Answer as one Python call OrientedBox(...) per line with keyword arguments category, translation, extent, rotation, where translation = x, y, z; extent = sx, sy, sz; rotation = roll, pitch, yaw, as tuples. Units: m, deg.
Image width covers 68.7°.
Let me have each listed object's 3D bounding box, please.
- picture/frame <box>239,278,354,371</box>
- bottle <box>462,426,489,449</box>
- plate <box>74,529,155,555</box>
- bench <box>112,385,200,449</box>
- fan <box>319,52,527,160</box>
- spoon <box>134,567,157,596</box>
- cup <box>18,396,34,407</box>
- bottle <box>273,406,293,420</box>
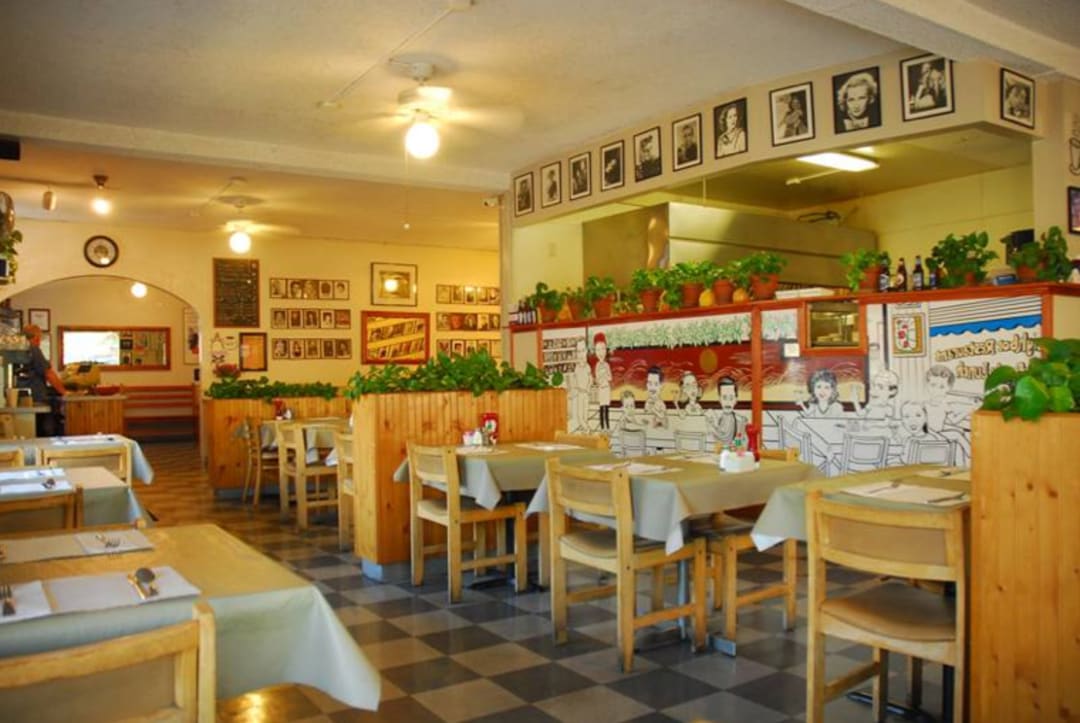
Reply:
OrientedBox(category="picture/frame", translation=(-4.403, -0.669, 13.887), extent=(1.907, 1.389, 0.046), rotation=(-1, -2, -27))
OrientedBox(category="bottle", translation=(-0.525, 0.618, 6.432), extent=(0.197, 0.127, 0.186), rotation=(0, -2, 0))
OrientedBox(category="plate", translation=(-2.021, 0.835, 3.730), extent=(0.304, 0.042, 0.413), rotation=(-4, 6, -31))
OrientedBox(category="bench", translation=(-7.938, 1.147, 16.222), extent=(1.562, 1.054, 0.748), rotation=(1, -3, -35))
OrientedBox(category="fan", translation=(-0.975, -2.660, 8.128), extent=(1.173, 0.513, 1.225), rotation=(-2, 2, -32))
OrientedBox(category="spoon", translation=(-1.615, 0.900, 3.217), extent=(0.077, 0.060, 0.118), rotation=(4, 37, -34))
OrientedBox(category="cup", translation=(-6.269, 0.487, 9.577), extent=(0.105, 0.123, 0.140), rotation=(2, -2, -44))
OrientedBox(category="bottle", translation=(-3.326, 0.624, 10.207), extent=(0.155, 0.165, 0.275), rotation=(3, -4, -43))
